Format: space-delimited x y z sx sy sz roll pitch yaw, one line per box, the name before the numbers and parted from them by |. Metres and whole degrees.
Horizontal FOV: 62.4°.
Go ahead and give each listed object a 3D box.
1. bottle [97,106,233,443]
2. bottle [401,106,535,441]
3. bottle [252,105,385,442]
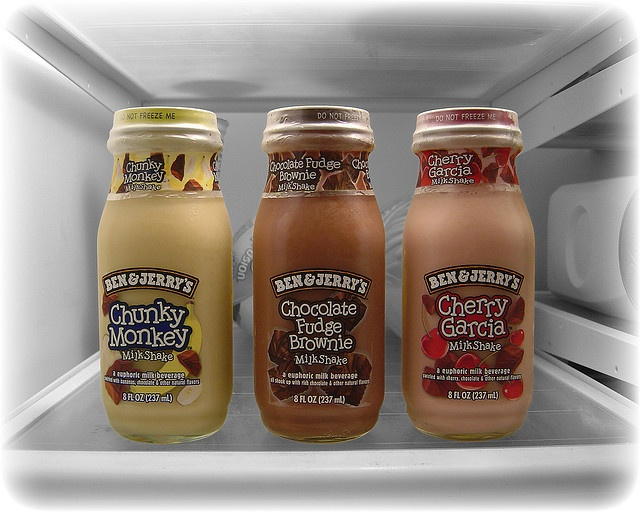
bottle | -0.187 0.022 0.669 0.153 0.413 0.110 -2 13 -9
bottle | 0.183 0.023 0.675 0.151 0.417 0.112 2 13 7
bottle | -0.002 0.026 0.669 0.158 0.423 0.117 -1 13 -3
